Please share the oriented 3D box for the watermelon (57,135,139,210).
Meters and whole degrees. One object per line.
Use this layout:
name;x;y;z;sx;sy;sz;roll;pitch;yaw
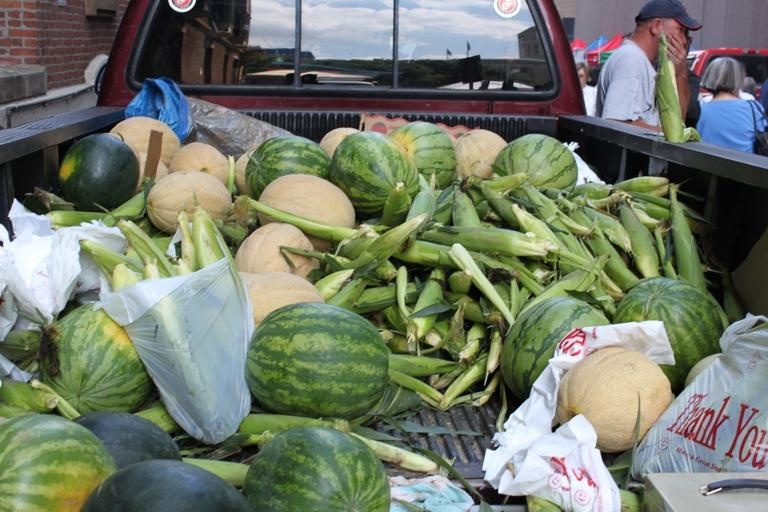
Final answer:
watermelon;-1.620;-0.508;3.363;0.415;0.503;0.427;7;17;17
